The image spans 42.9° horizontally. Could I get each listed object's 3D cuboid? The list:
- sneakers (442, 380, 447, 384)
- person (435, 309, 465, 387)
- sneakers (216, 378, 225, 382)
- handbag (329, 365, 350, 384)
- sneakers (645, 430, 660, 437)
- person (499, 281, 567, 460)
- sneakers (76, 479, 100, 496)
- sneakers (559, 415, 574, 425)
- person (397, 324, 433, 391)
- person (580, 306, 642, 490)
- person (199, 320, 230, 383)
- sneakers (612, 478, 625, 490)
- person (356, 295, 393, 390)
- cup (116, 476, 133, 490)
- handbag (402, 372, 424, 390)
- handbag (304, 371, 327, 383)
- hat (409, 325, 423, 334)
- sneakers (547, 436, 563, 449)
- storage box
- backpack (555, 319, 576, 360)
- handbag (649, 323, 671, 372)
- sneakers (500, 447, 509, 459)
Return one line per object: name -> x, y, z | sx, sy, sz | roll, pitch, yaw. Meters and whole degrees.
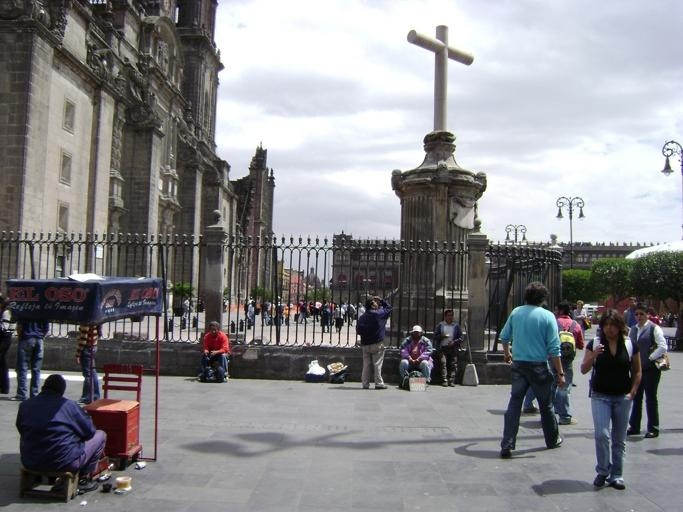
sneakers -> 2.396, 2.971, 20.100 | 0.128, 0.125, 0.072 | -1, -7, 22
person -> 2.470, 2.161, 20.201 | 0.637, 1.788, 0.464 | 1, -7, 7
sneakers -> -2.755, 2.880, 19.902 | 0.128, 0.094, 0.250 | -5, -10, 41
handbag -> -0.044, 2.774, 20.193 | 0.344, 0.409, 0.435 | 11, -12, -33
sneakers -> 5.641, 3.243, 15.746 | 0.297, 0.158, 0.164 | 1, -7, 0
person -> 3.243, 1.964, 14.847 | 1.038, 2.992, 0.732 | 0, -7, 10
sneakers -> -3.915, 3.578, 13.322 | 0.316, 0.132, 0.137 | -3, 8, -17
sneakers -> 4.276, 3.172, 16.542 | 0.322, 0.151, 0.111 | -1, 1, -7
person -> 1.706, 2.332, 19.985 | 0.799, 1.338, 0.934 | 2, 1, -12
person -> 4.277, 2.271, 13.793 | 0.864, 2.790, 0.466 | -1, -7, 16
person -> -2.917, 2.221, 20.170 | 0.791, 1.359, 0.985 | 4, 11, 15
sneakers -> 4.322, 3.572, 13.493 | 0.248, 0.167, 0.128 | 3, -7, -16
person -> 0.715, 1.983, 19.652 | 0.741, 2.118, 1.251 | 1, -7, 1
cup -> -3.338, 3.514, 13.327 | 0.189, 0.146, 0.189 | 1, 2, 0
handbag -> 1.662, 2.875, 19.648 | 0.395, 0.311, 0.409 | 0, -1, 11
handbag -> -0.597, 2.868, 20.246 | 0.499, 0.218, 0.229 | 2, -7, -2
hat -> 1.723, 1.707, 19.884 | 0.171, 0.143, 0.266 | -2, -10, 14
sneakers -> 3.715, 3.256, 15.091 | 0.123, 0.155, 0.373 | 2, 8, 42
storage box -> -3.711, 2.916, 14.224 | 0.704, 0.887, 0.907 | 1, 0, 6
backpack -> 4.443, 1.724, 16.885 | 0.441, 0.748, 0.743 | 0, -9, 15
handbag -> 5.791, 1.732, 15.928 | 0.309, 0.817, 0.361 | -10, -13, 4
sneakers -> 2.774, 3.350, 14.630 | 0.202, 0.169, 0.161 | 1, -7, 3
